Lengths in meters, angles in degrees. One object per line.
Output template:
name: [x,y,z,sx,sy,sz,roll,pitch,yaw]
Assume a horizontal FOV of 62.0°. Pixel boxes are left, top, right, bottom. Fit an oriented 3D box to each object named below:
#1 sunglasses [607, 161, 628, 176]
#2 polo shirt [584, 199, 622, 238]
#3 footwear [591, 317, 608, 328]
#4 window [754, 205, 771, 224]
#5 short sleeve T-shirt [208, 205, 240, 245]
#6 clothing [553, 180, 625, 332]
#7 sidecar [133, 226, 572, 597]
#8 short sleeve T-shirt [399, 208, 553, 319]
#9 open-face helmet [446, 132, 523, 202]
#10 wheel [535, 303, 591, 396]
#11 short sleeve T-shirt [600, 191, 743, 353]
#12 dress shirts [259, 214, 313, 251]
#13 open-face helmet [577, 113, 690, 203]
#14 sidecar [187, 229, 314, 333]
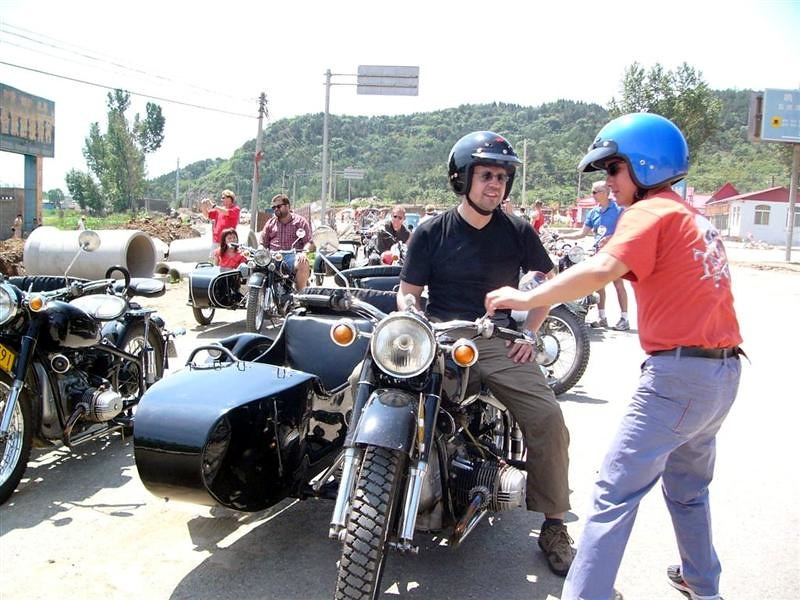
sunglasses: [1.165,-0.721,3.614,0.065,0.026,0.066,-16,-8,-34]
polo shirt: [3.386,-1.296,11.024,0.724,0.780,0.295,2,-9,30]
footwear: [3.413,0.378,11.414,0.341,0.170,0.133,3,4,40]
window: [34.614,-8.319,63.711,1.534,2.487,0.092,0,6,18]
short sleeve T-shirt: [-3.536,-1.579,13.187,0.567,0.829,0.593,4,-7,24]
clothing: [3.194,-0.815,10.931,1.118,2.583,0.901,-4,-10,28]
sidecar: [-0.133,0.785,4.689,1.770,1.598,2.625,-2,-5,17]
short sleeve T-shirt: [0.551,-0.230,4.520,0.930,0.796,0.475,0,-8,4]
open-face helmet: [0.544,-0.839,4.254,0.367,0.411,0.446,1,5,-25]
wheel: [1.684,0.511,6.896,0.128,0.808,0.726,1,-20,-39]
short sleeve T-shirt: [1.367,-0.142,3.382,0.765,0.827,0.309,0,5,-13]
dress shirts: [-1.960,-1.105,11.496,0.953,0.911,0.510,1,-5,7]
open-face helmet: [1.334,-0.764,3.766,0.606,0.609,0.495,1,3,8]
sidecar: [-2.511,-0.224,10.506,2.191,1.174,1.452,0,7,16]
